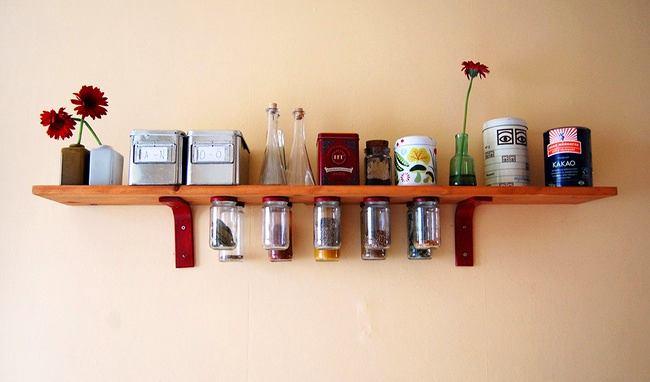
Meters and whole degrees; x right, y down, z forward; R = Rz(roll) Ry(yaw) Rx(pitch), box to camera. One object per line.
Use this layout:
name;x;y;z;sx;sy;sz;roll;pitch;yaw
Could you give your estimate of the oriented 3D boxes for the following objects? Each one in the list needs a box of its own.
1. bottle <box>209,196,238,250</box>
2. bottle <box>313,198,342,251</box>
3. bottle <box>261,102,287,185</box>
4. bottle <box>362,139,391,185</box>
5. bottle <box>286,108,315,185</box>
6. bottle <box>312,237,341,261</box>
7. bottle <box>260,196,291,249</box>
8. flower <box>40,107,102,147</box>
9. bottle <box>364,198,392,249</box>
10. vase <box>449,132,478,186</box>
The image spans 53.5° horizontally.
bottle;-0.493;0.159;3.160;0.134;0.256;0.076;0;-4;-11
bottle;0.013;0.155;3.153;0.120;0.244;0.058;0;-4;-8
bottle;-0.254;-0.235;3.221;0.121;0.422;0.175;0;-4;-5
bottle;0.263;-0.126;3.220;0.163;0.242;0.166;1;-2;0
bottle;-0.119;-0.212;3.208;0.140;0.385;0.202;0;-4;-2
bottle;0.025;0.294;3.205;0.104;0.075;0.101;0;-9;0
bottle;-0.232;0.155;3.149;0.139;0.249;0.079;1;-4;-15
flower;-1.264;-0.324;3.232;0.279;0.207;0.276;1;-4;-22
bottle;0.260;0.163;3.179;0.132;0.252;0.091;0;-4;-1
vase;0.680;-0.154;3.204;0.123;0.259;0.103;-1;-4;5
